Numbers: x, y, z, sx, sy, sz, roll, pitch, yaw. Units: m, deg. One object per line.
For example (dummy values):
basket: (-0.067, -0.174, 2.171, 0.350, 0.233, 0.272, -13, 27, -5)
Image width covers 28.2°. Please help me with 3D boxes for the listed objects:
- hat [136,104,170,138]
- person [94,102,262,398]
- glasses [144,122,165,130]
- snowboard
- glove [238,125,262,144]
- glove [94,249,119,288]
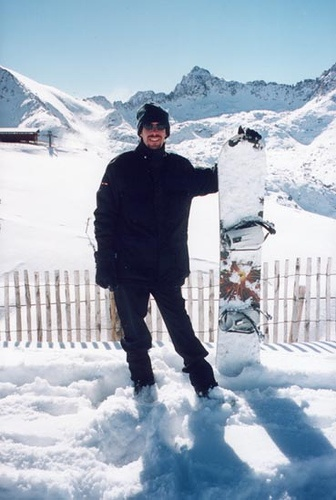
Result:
hat: (-0.111, -0.868, 4.576, 0.191, 0.198, 0.239, 0, -7, -2)
person: (-0.090, -0.013, 4.628, 0.815, 1.955, 0.501, -1, 5, 0)
glasses: (-0.096, -0.818, 4.470, 0.143, 0.051, 0.040, -1, 5, -4)
snowboard: (0.567, -0.006, 5.146, 0.422, 1.885, 0.392, -1, 9, -17)
glove: (0.624, -0.883, 5.163, 0.169, 0.103, 0.053, 8, 20, -17)
glove: (-0.409, 0.143, 4.585, 0.171, 0.262, 0.184, -2, 0, -11)
